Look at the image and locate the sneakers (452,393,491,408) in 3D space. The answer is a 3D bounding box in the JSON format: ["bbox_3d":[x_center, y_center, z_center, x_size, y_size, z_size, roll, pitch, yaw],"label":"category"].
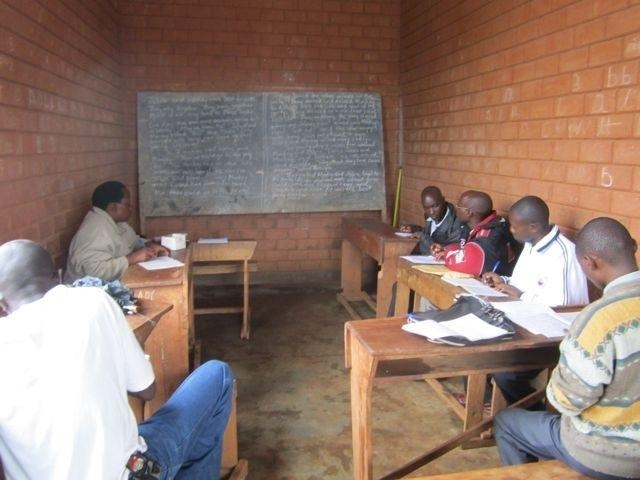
[{"bbox_3d":[1.023,1.099,3.459,0.214,0.069,0.140,1,7,38],"label":"sneakers"}]

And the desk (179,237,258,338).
[{"bbox_3d":[-0.933,0.201,4.925,0.786,0.860,1.304,0,9,-3],"label":"desk"}]

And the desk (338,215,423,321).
[{"bbox_3d":[0.543,0.257,4.684,0.235,0.608,0.956,-4,16,-12],"label":"desk"}]

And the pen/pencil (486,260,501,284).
[{"bbox_3d":[1.171,0.218,3.442,0.180,0.015,0.029,-48,21,-29],"label":"pen/pencil"}]

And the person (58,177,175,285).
[{"bbox_3d":[-1.464,-0.041,4.022,0.737,1.109,0.796,0,22,-12],"label":"person"}]

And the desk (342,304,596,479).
[{"bbox_3d":[0.748,0.780,2.542,1.049,0.825,0.454,-4,10,-19],"label":"desk"}]

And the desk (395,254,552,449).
[{"bbox_3d":[0.876,0.645,2.846,0.440,0.646,1.089,-1,10,-7],"label":"desk"}]
